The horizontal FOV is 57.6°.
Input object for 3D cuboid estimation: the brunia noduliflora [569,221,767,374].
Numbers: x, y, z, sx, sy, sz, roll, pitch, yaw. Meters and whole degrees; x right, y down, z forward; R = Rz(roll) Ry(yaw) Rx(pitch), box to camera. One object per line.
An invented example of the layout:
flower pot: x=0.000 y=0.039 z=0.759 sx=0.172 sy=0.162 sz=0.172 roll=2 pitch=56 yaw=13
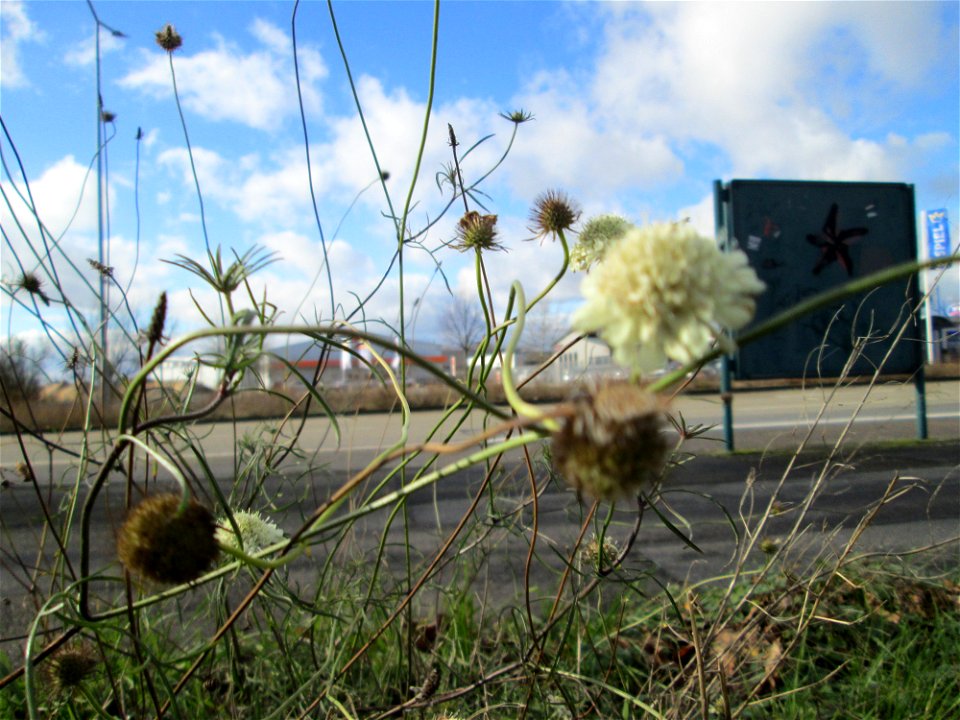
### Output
brunia noduliflora: x=0.638 y=-0.346 z=3.047 sx=0.304 sy=0.550 sz=0.626 roll=-29 pitch=-31 yaw=3

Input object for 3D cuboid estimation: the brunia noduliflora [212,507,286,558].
brunia noduliflora: x=-0.926 y=0.695 z=3.532 sx=0.254 sy=0.171 sz=0.196 roll=-13 pitch=-25 yaw=41
